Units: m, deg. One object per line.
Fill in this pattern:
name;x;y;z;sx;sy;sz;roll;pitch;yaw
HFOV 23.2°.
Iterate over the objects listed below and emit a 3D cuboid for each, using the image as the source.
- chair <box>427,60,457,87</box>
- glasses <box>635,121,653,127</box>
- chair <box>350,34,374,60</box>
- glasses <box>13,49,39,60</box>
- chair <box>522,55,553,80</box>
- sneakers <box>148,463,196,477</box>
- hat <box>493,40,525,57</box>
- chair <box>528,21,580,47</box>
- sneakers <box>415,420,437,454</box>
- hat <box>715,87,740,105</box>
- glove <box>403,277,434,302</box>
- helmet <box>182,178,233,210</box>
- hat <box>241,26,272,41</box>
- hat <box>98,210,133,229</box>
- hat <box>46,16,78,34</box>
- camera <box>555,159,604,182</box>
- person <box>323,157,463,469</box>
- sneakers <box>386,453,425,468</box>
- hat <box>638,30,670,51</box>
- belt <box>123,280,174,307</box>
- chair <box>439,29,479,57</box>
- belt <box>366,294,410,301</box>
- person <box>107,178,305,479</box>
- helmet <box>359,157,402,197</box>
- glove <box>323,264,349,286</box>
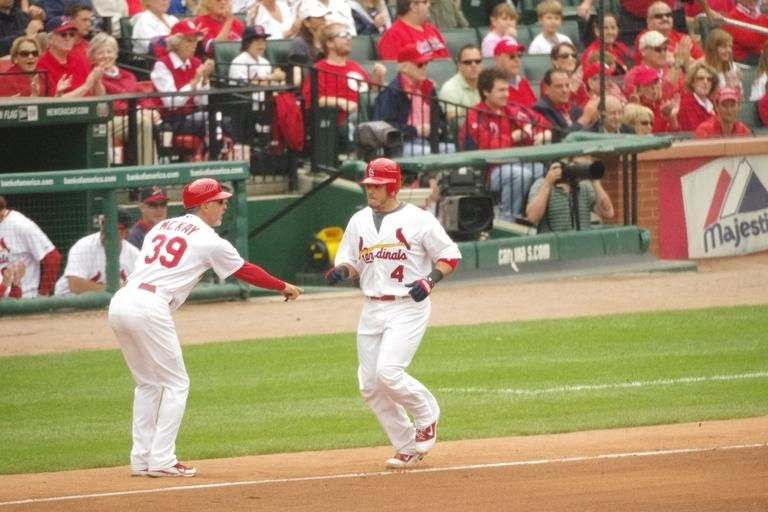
chair;0.821;-2.669;27.233;0.462;0.495;0.438;0;11;-10
glasses;3.774;-1.942;27.101;0.147;0.045;0.104;7;2;24
chair;-0.297;-3.106;27.720;0.396;0.462;0.385;-1;13;-14
glasses;-4.767;-2.750;25.223;0.309;0.111;0.139;-3;4;-33
chair;2.320;-2.865;28.264;0.458;0.474;0.409;-2;17;-2
sneakers;-2.289;2.330;20.283;0.532;0.195;0.177;-1;-2;-6
hat;1.749;-3.003;26.798;0.267;0.141;0.402;-5;2;-35
chair;2.682;-3.532;29.196;0.547;0.479;0.521;1;2;-20
sneakers;0.476;2.003;20.463;0.293;0.351;0.121;-5;6;-44
hat;4.994;-2.358;27.346;0.331;0.153;0.432;0;2;9
glove;0.394;0.373;20.320;0.285;0.266;0.221;-1;4;1
helmet;-1.946;-0.699;20.610;0.482;0.196;0.327;-11;9;-19
hat;-1.798;-3.130;26.097;0.311;0.133;0.199;-5;13;-1
hat;-3.509;-0.485;24.583;0.380;0.232;0.242;-8;8;-2
hat;-4.333;-3.161;25.366;0.322;0.224;0.345;0;4;18
camera;2.756;-1.196;25.951;0.498;0.179;0.305;-4;-11;42
person;0.141;0.614;20.507;1.312;3.371;0.692;-1;4;1
sneakers;0.216;2.235;20.425;0.442;0.164;0.153;-1;-1;-28
hat;3.957;-3.225;27.666;0.270;0.158;0.335;-8;-9;-32
belt;-2.543;0.368;20.310;0.345;0.123;0.376;18;6;-44
chair;1.152;-3.311;28.507;0.535;0.589;0.501;0;31;-1
belt;0.057;0.460;20.447;0.410;0.075;0.069;-1;4;1
person;-2.214;0.776;20.426;1.417;3.222;0.632;-4;5;-33
helmet;0.024;-0.910;20.649;0.458;0.303;0.395;0;-1;-37
glove;-0.493;0.212;20.564;0.221;0.112;0.268;-8;11;16
